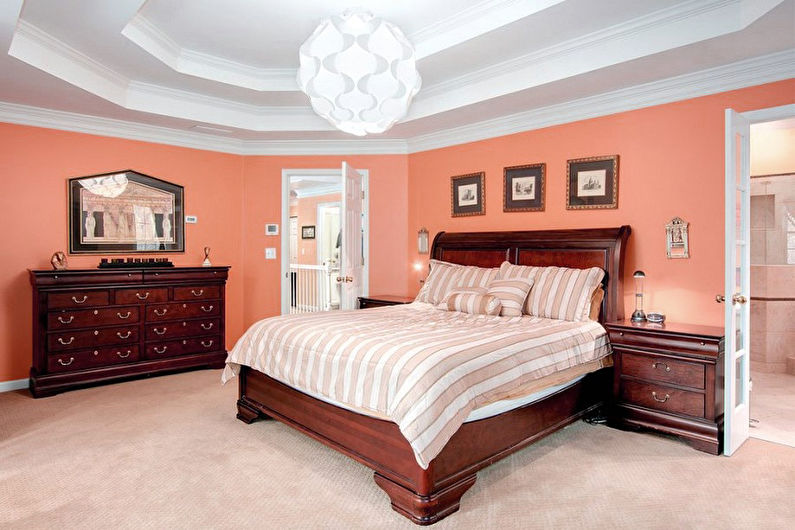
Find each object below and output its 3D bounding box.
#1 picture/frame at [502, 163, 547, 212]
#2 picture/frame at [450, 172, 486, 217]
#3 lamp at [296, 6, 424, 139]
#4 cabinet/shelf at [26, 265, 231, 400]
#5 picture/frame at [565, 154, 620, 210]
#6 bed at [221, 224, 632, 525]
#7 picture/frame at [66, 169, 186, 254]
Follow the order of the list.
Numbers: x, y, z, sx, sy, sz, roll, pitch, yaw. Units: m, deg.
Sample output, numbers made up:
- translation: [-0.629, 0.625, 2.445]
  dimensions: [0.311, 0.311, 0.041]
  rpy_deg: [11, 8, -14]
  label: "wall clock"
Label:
- translation: [1.607, -0.968, 6.092]
  dimensions: [0.678, 0.680, 0.059]
  rpy_deg: [0, -1, 41]
  label: "picture/frame"
- translation: [0.972, -0.962, 6.593]
  dimensions: [0.664, 0.697, 0.038]
  rpy_deg: [-1, -2, 43]
  label: "picture/frame"
- translation: [-0.294, -1.690, 4.634]
  dimensions: [1.099, 0.982, 1.068]
  rpy_deg: [3, 3, 5]
  label: "lamp"
- translation: [-3.339, 0.803, 5.878]
  dimensions: [1.600, 1.064, 0.591]
  rpy_deg: [0, -1, -38]
  label: "cabinet/shelf"
- translation: [2.260, -0.954, 5.602]
  dimensions: [0.692, 0.699, 0.077]
  rpy_deg: [1, 0, 37]
  label: "picture/frame"
- translation: [0.388, 0.556, 5.271]
  dimensions: [3.044, 1.909, 3.518]
  rpy_deg: [13, 19, 43]
  label: "bed"
- translation: [-3.593, -0.698, 6.323]
  dimensions: [1.257, 0.982, 0.048]
  rpy_deg: [0, -1, -39]
  label: "picture/frame"
